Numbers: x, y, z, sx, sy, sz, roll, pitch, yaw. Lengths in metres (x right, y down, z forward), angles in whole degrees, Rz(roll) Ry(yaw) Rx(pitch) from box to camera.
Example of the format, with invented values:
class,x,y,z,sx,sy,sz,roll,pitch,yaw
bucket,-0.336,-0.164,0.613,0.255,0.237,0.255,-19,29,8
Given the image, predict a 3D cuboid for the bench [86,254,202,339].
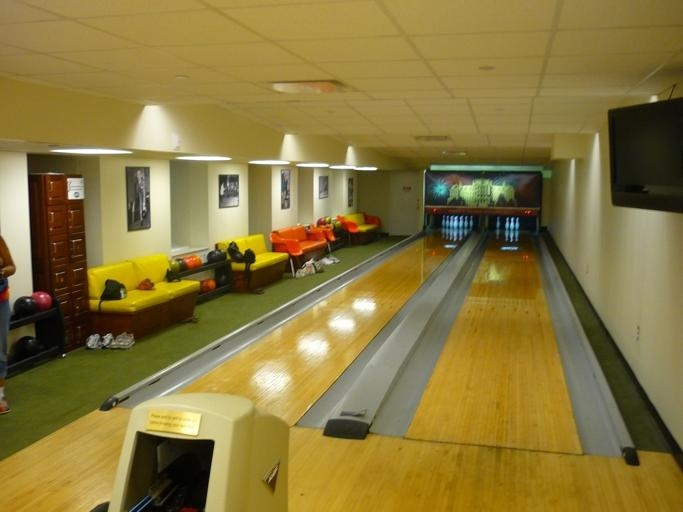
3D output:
class,x,y,z,sx,sy,sz,roll,pitch,yaw
bench,-2.361,0.516,5.413,0.689,0.866,1.326,4,9,18
